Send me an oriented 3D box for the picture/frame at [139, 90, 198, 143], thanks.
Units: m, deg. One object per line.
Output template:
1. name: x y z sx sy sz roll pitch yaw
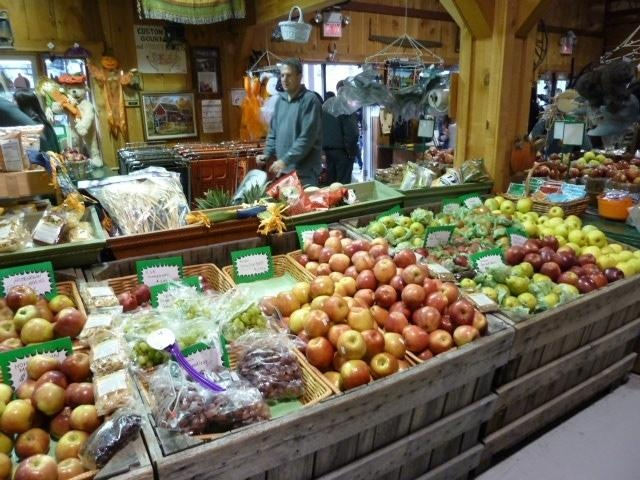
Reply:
1. picture/frame: -2.293 -1.860 6.400 0.673 0.646 0.068 -12 24 -28

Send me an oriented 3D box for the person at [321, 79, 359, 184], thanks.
1. person: 0.285 -1.262 5.972 0.486 1.000 0.413 -1 19 3

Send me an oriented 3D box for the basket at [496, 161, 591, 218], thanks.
1. basket: 1.851 -0.368 3.438 0.483 0.437 0.588 -17 27 -29

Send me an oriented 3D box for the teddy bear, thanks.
1. teddy bear: -3.252 -1.502 5.616 0.555 1.149 0.335 -14 23 -32

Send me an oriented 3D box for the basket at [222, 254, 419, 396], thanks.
1. basket: -0.107 0.174 2.141 0.492 0.176 0.971 -8 30 -20

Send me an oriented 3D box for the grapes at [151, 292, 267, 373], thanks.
1. grapes: -0.515 0.344 2.041 0.324 0.161 0.410 -7 22 -26

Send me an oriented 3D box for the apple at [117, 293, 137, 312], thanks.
1. apple: -0.947 0.303 2.114 0.070 0.100 0.084 3 15 -4

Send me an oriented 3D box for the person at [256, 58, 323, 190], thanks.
1. person: -0.361 -1.164 4.456 0.713 1.292 0.920 1 20 7
